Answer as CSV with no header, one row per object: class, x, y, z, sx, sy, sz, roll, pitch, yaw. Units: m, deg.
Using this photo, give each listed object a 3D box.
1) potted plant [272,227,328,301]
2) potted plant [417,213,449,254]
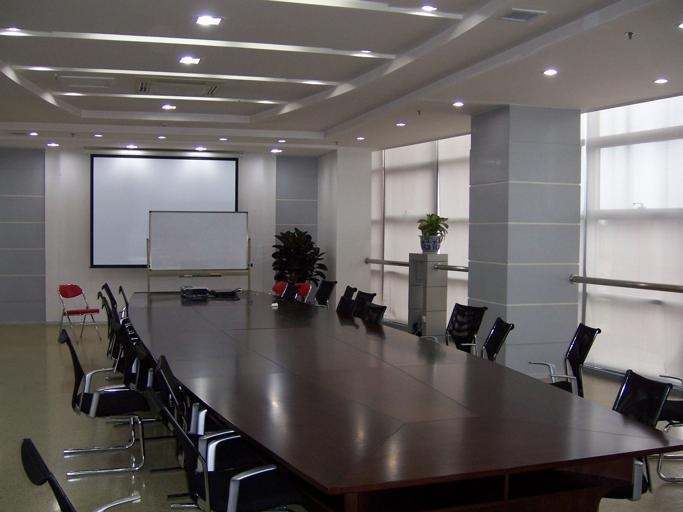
potted plant,-0.890,0.176,11.023,1.109,1.528,1.156,6,10,44
potted plant,1.509,-0.369,8.363,0.424,0.632,0.511,1,5,11
